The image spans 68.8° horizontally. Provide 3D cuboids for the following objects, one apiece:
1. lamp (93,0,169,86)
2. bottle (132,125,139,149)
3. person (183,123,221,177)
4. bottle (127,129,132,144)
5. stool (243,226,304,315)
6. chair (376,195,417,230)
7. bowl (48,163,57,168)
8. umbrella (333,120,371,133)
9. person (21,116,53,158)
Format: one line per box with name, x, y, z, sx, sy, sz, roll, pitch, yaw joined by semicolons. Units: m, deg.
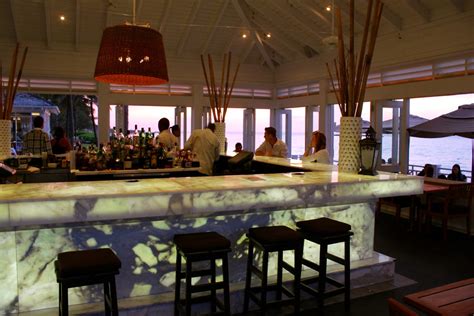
lamp;-1.254;-1.301;4.072;0.812;0.770;0.562;-3;4;-22
bottle;-1.691;-0.369;5.766;0.094;0.378;0.252;-3;4;-15
person;-0.670;-0.195;6.923;0.559;1.420;0.415;13;44;-2
bottle;-1.831;-0.366;5.863;0.068;0.228;0.393;-3;4;-17
stool;0.388;1.245;3.826;0.677;1.010;0.597;-1;4;8
chair;3.035;0.919;6.794;0.534;0.765;0.477;8;-12;38
bowl;-3.293;0.137;6.171;0.098;0.056;0.099;1;-1;0
umbrella;3.794;-1.027;11.229;1.345;0.479;1.339;0;2;8
person;-3.977;-0.445;6.770;0.553;0.727;0.272;-2;4;2
